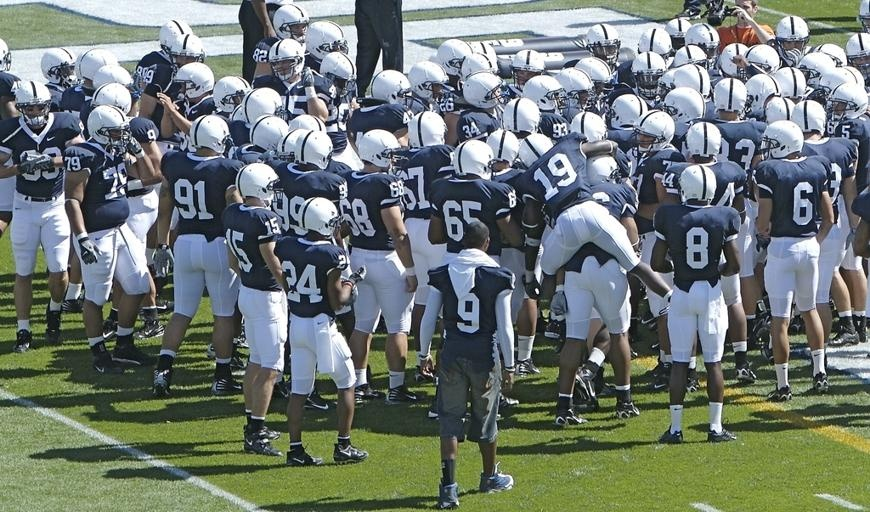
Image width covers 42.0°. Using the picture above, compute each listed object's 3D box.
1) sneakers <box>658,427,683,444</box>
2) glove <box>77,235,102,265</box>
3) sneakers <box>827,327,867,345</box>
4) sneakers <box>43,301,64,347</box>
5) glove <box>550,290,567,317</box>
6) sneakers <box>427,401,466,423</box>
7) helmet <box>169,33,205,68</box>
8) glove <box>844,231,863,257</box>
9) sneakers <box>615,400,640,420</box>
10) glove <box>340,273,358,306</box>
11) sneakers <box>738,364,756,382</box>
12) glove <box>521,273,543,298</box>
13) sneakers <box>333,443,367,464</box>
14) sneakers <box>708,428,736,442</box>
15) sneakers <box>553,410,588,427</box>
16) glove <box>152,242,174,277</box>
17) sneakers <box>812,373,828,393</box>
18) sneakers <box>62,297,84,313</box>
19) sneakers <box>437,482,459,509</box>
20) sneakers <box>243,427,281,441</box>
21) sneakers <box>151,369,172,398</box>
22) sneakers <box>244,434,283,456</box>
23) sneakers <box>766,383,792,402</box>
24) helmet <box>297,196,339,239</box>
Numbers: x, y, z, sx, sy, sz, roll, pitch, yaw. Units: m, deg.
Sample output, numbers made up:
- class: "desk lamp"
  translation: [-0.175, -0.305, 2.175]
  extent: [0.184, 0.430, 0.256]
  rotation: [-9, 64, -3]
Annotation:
- class: "sneakers"
  translation: [2.631, 2.020, 12.714]
  extent: [0.275, 0.157, 0.138]
  rotation: [2, -1, 12]
- class: "glove"
  translation: [-4.264, -0.061, 13.922]
  extent: [0.277, 0.310, 0.095]
  rotation: [-9, -1, -13]
- class: "sneakers"
  translation: [5.360, 1.031, 14.644]
  extent: [0.617, 0.259, 0.201]
  rotation: [-1, 0, -22]
- class: "sneakers"
  translation: [-4.991, 0.903, 14.818]
  extent: [0.207, 0.588, 0.260]
  rotation: [-6, 9, -27]
- class: "glove"
  translation: [1.373, 0.531, 12.771]
  extent: [0.111, 0.259, 0.192]
  rotation: [-2, -21, -2]
- class: "sneakers"
  translation: [0.056, 1.784, 13.132]
  extent: [0.420, 0.212, 0.289]
  rotation: [-32, -26, 28]
- class: "helmet"
  translation: [-3.476, -2.903, 16.031]
  extent: [0.430, 0.393, 0.484]
  rotation: [7, 10, -2]
- class: "glove"
  translation: [5.107, -0.141, 13.862]
  extent: [0.182, 0.318, 0.352]
  rotation: [-5, -5, 43]
- class: "sneakers"
  translation: [2.213, 1.797, 13.193]
  extent: [0.291, 0.139, 0.157]
  rotation: [-1, 7, -22]
- class: "glove"
  translation: [-0.890, 0.370, 12.360]
  extent: [0.146, 0.318, 0.241]
  rotation: [-1, 15, -45]
- class: "sneakers"
  translation: [3.766, 1.436, 13.766]
  extent: [0.135, 0.142, 0.296]
  rotation: [-11, -20, 39]
- class: "glove"
  translation: [1.130, 0.354, 13.221]
  extent: [0.179, 0.276, 0.197]
  rotation: [-9, 4, 9]
- class: "sneakers"
  translation: [-0.956, 2.165, 12.450]
  extent: [0.448, 0.190, 0.165]
  rotation: [1, 8, -17]
- class: "sneakers"
  translation: [3.182, 2.005, 12.700]
  extent: [0.354, 0.146, 0.118]
  rotation: [-2, 7, -16]
- class: "sneakers"
  translation: [1.533, 1.878, 13.119]
  extent: [0.440, 0.182, 0.152]
  rotation: [-1, 4, -8]
- class: "glove"
  translation: [-3.387, 0.051, 14.143]
  extent: [0.344, 0.427, 0.129]
  rotation: [3, 1, -5]
- class: "sneakers"
  translation: [4.601, 1.520, 13.591]
  extent: [0.156, 0.240, 0.130]
  rotation: [-3, 19, -5]
- class: "sneakers"
  translation: [-5.024, 0.672, 15.561]
  extent: [0.418, 0.165, 0.135]
  rotation: [-7, 25, -14]
- class: "sneakers"
  translation: [0.148, 2.470, 11.763]
  extent: [0.262, 0.276, 0.189]
  rotation: [0, -1, -17]
- class: "sneakers"
  translation: [-1.897, 1.962, 12.731]
  extent: [0.496, 0.154, 0.202]
  rotation: [2, -36, -21]
- class: "sneakers"
  translation: [-3.278, 1.491, 13.599]
  extent: [0.161, 0.415, 0.192]
  rotation: [4, 29, -1]
- class: "sneakers"
  translation: [-1.931, 2.097, 12.601]
  extent: [0.495, 0.196, 0.170]
  rotation: [6, 8, -2]
- class: "sneakers"
  translation: [4.054, 1.610, 13.395]
  extent: [0.158, 0.134, 0.306]
  rotation: [0, 3, -4]
- class: "helmet"
  translation: [-1.258, -0.419, 12.158]
  extent: [0.457, 0.355, 0.351]
  rotation: [3, 16, -35]
